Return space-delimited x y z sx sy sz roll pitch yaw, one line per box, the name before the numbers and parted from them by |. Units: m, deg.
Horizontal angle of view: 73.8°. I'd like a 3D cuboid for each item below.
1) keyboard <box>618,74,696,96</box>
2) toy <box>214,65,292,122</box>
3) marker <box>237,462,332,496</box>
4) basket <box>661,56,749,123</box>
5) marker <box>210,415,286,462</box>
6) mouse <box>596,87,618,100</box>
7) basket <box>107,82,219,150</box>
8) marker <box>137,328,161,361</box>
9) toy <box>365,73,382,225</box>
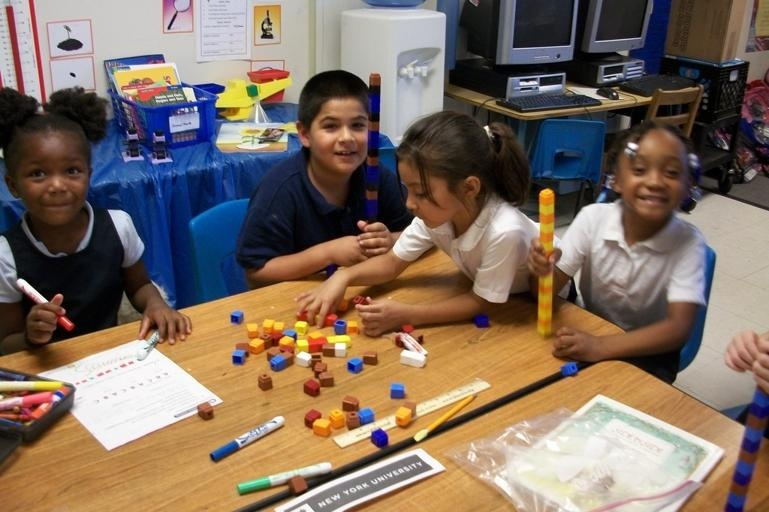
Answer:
keyboard | 2.163 -1.373 4.064 0.567 0.099 0.305 -17 36 -26
toy | -0.777 -1.118 3.493 0.769 0.308 0.209 -28 47 -33
marker | -0.218 0.497 1.138 0.206 0.025 0.030 -5 -3 -23
basket | 2.846 -1.549 4.597 0.685 0.532 0.677 -18 33 -25
marker | -0.320 0.433 1.211 0.185 0.032 0.029 -22 39 -34
mouse | 1.683 -1.225 3.881 0.099 0.071 0.191 -5 26 -18
basket | -1.256 -0.860 2.898 0.348 0.206 0.519 -18 34 -31
marker | -0.661 0.250 1.438 0.025 0.027 0.093 33 37 -6
toy | -0.062 -0.360 1.746 0.073 0.446 0.086 3 26 1
